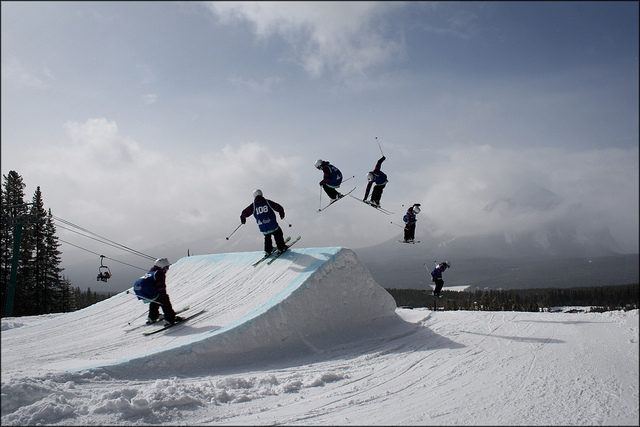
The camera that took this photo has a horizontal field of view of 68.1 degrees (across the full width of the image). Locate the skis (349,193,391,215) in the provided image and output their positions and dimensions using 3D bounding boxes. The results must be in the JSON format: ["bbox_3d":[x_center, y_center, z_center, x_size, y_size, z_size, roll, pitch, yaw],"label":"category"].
[{"bbox_3d":[1.693,-0.395,14.926,1.740,0.187,0.138,33,7,14],"label":"skis"}]

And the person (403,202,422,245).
[{"bbox_3d":[4.435,0.470,22.847,0.814,2.196,0.558,-2,33,4],"label":"person"}]

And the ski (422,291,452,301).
[{"bbox_3d":[5.825,3.994,22.897,1.715,0.118,0.174,17,42,2],"label":"ski"}]

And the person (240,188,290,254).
[{"bbox_3d":[-2.042,0.403,18.248,1.564,2.556,0.980,-1,8,-5],"label":"person"}]

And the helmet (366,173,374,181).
[{"bbox_3d":[2.192,-1.599,20.816,0.224,0.330,0.404,6,9,39],"label":"helmet"}]
